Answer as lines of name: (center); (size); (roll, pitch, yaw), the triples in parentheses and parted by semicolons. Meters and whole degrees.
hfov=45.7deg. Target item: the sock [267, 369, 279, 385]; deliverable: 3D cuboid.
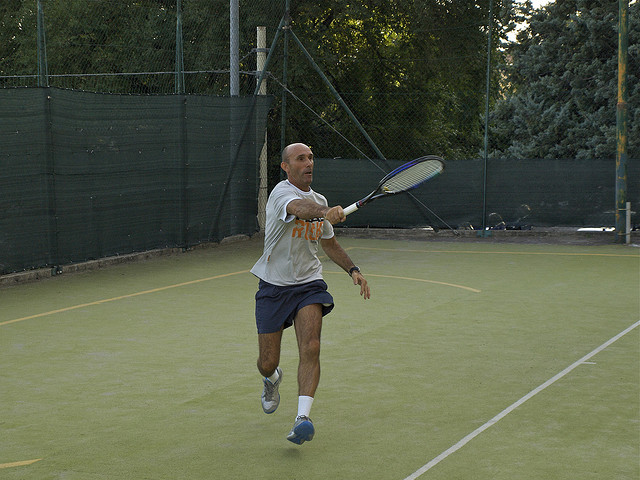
sock: (-0.370, 1.111, 6.225); (0.097, 0.103, 0.112); (-2, 27, -4)

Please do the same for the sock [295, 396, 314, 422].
sock: (-0.110, 1.216, 5.555); (0.098, 0.136, 0.184); (0, 8, 2)
